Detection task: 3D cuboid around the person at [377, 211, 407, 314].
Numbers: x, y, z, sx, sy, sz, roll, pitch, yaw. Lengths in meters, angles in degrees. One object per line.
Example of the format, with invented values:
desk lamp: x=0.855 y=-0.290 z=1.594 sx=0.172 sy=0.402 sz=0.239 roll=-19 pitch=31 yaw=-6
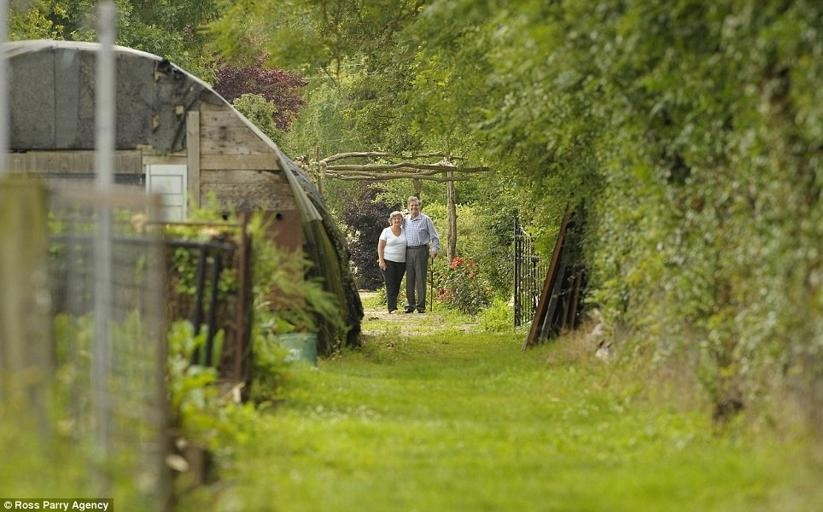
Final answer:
person: x=-0.242 y=0.082 z=15.574 sx=0.340 sy=1.326 sz=0.999 roll=2 pitch=4 yaw=-1
